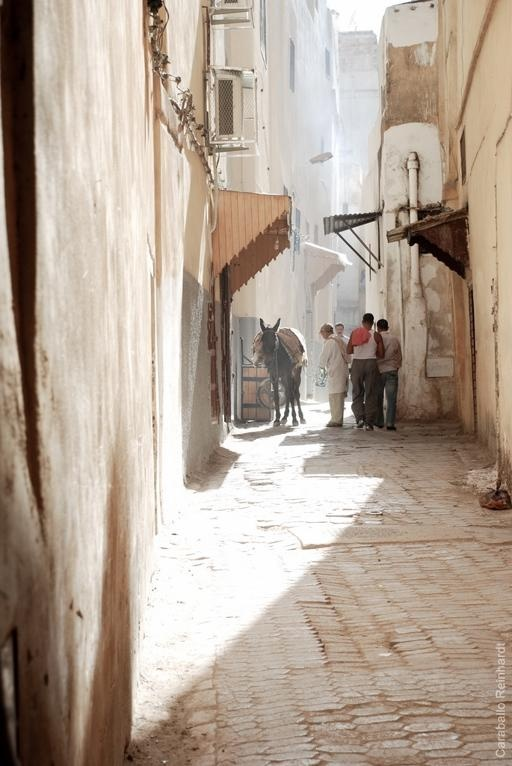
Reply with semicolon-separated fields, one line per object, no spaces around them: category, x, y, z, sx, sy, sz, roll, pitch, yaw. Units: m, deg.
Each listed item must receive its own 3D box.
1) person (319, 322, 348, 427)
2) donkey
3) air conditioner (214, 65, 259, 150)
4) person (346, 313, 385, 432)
person;1.270;-0.056;14.111;0.443;1.700;0.404;0;0;25
donkey;0.605;-0.131;16.392;0.448;2.067;1.841;-2;1;22
air conditioner;-0.269;-3.121;10.580;0.659;0.878;0.502;-3;6;-21
person;1.665;-0.050;13.376;0.528;1.729;0.866;-1;5;1
